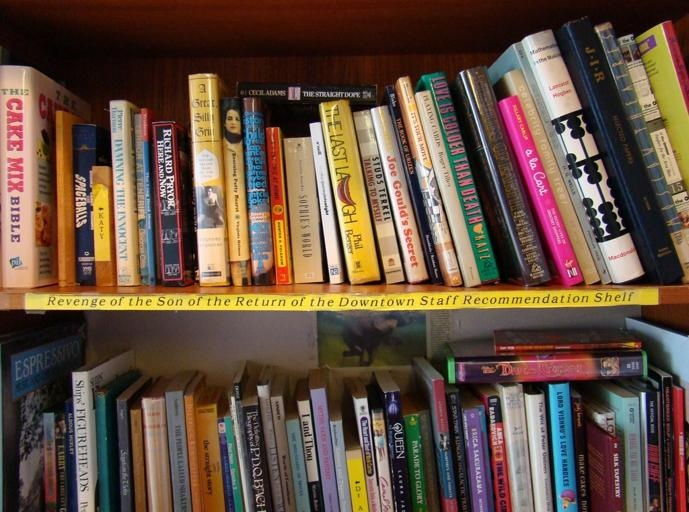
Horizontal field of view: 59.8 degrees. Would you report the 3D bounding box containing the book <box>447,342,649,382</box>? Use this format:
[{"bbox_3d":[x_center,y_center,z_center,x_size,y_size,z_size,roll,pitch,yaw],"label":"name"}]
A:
[{"bbox_3d":[0.476,0.263,1.410,0.456,0.069,0.035,-4,10,4],"label":"book"}]

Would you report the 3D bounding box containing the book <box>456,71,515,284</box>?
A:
[{"bbox_3d":[0.318,-0.170,1.336,0.046,0.349,0.341,-14,43,1],"label":"book"}]

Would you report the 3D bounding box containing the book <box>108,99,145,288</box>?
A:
[{"bbox_3d":[-0.499,-0.143,1.372,0.054,0.415,0.104,-2,10,10],"label":"book"}]

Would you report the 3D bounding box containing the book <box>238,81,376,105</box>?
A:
[{"bbox_3d":[-0.088,-0.385,1.415,0.328,0.073,0.018,-4,10,2],"label":"book"}]

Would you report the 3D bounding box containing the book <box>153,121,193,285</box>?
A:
[{"bbox_3d":[-0.386,-0.116,1.347,0.066,0.296,0.215,2,2,-8],"label":"book"}]

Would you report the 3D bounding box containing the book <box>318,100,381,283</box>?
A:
[{"bbox_3d":[0.013,-0.144,1.356,0.080,0.411,0.098,-7,10,-16],"label":"book"}]

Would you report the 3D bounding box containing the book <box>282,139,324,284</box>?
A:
[{"bbox_3d":[-0.093,-0.104,1.375,0.062,0.270,0.190,-2,3,-3],"label":"book"}]
